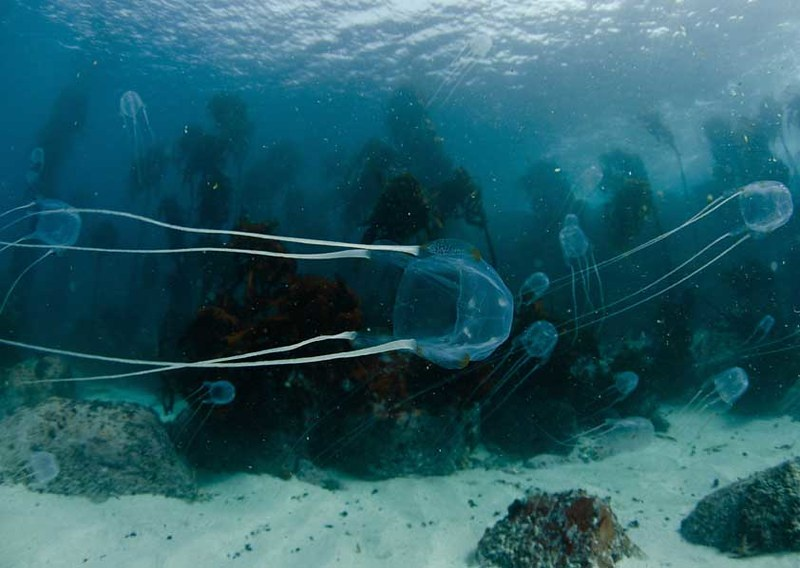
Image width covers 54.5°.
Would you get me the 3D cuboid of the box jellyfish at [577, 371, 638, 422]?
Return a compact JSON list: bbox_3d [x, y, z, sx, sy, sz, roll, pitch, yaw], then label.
[{"bbox_3d":[3.911,2.088,14.879,1.229,0.737,0.305,-38,0,2],"label":"box jellyfish"}]
